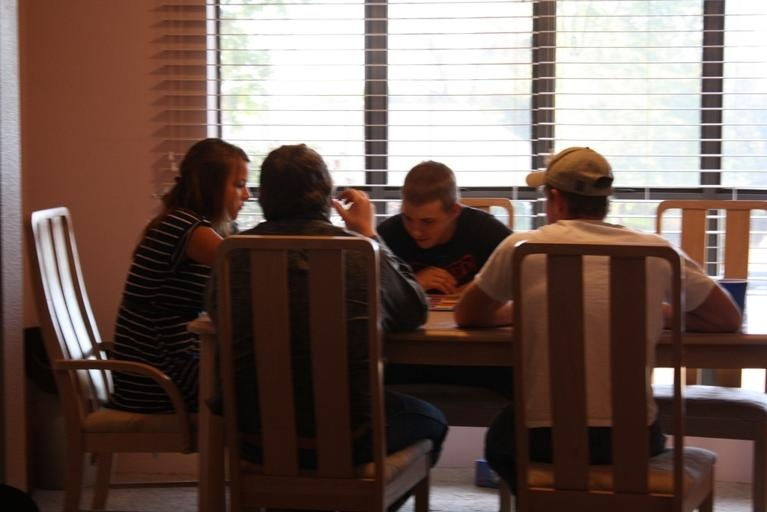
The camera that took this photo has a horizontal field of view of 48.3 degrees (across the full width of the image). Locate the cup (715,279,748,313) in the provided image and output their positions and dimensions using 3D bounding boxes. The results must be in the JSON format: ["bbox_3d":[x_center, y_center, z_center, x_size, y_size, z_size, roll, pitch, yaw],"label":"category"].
[{"bbox_3d":[1.206,0.132,2.941,0.120,0.112,0.112,0,6,0],"label":"cup"}]

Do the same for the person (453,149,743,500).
[{"bbox_3d":[0.770,0.244,3.045,0.884,1.093,0.757,7,15,38],"label":"person"}]

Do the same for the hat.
[{"bbox_3d":[0.660,-0.314,3.014,0.308,0.150,0.226,15,24,28],"label":"hat"}]

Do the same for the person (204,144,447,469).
[{"bbox_3d":[-0.346,0.161,3.125,0.977,1.013,0.794,3,6,23],"label":"person"}]
